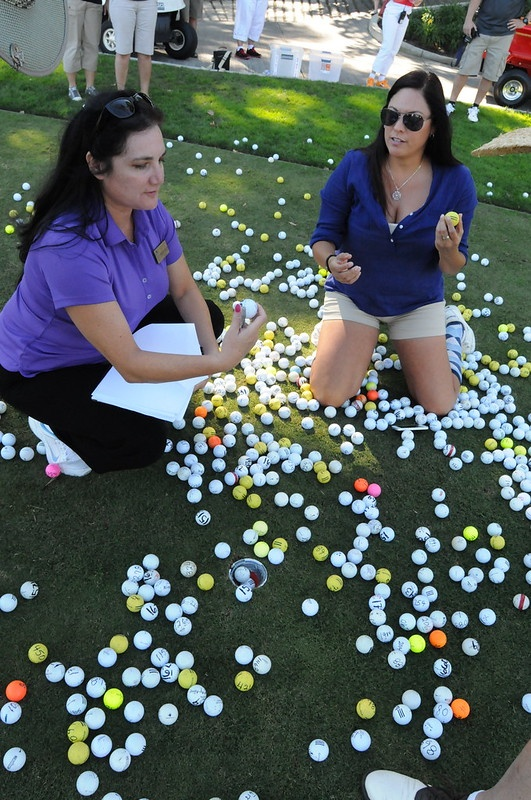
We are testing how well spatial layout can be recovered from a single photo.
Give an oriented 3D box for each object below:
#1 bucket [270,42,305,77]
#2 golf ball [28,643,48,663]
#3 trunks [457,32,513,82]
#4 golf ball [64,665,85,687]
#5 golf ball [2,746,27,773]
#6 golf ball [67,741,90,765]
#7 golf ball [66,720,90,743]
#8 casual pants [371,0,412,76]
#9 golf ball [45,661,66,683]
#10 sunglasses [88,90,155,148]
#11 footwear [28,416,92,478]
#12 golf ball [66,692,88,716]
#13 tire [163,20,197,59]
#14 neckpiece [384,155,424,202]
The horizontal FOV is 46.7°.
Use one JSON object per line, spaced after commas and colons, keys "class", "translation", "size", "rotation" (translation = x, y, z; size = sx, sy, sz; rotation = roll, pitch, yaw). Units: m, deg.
{"class": "bucket", "translation": [0.245, -4.194, 7.591], "size": [0.375, 0.340, 0.507], "rotation": [8, 30, -4]}
{"class": "golf ball", "translation": [-0.792, 0.884, 2.136], "size": [0.066, 0.033, 0.063], "rotation": [7, 34, -5]}
{"class": "trunks", "translation": [2.489, -3.932, 6.999], "size": [0.530, 0.483, 0.277], "rotation": [10, 31, -1]}
{"class": "golf ball", "translation": [-0.658, 0.959, 2.122], "size": [0.063, 0.064, 0.054], "rotation": [-20, 42, -41]}
{"class": "golf ball", "translation": [-0.785, 1.129, 1.920], "size": [0.064, 0.054, 0.053], "rotation": [18, 31, 12]}
{"class": "golf ball", "translation": [-0.595, 1.128, 1.953], "size": [0.066, 0.053, 0.055], "rotation": [12, 30, 3]}
{"class": "golf ball", "translation": [-0.598, 1.068, 1.993], "size": [0.068, 0.071, 0.064], "rotation": [3, -4, 0]}
{"class": "casual pants", "translation": [1.600, -4.659, 7.984], "size": [0.334, 0.892, 0.748], "rotation": [14, 31, 3]}
{"class": "golf ball", "translation": [-0.722, 0.944, 2.118], "size": [0.065, 0.062, 0.055], "rotation": [-9, 36, -31]}
{"class": "sunglasses", "translation": [-0.468, -0.867, 1.921], "size": [0.182, 0.051, 0.170], "rotation": [-22, 8, 35]}
{"class": "footwear", "translation": [-0.860, 0.201, 2.595], "size": [0.289, 0.122, 0.100], "rotation": [38, 59, 1]}
{"class": "golf ball", "translation": [-0.632, 1.023, 2.058], "size": [0.062, 0.058, 0.059], "rotation": [8, 30, -5]}
{"class": "tire", "translation": [-1.067, -4.525, 7.731], "size": [0.385, 0.414, 0.323], "rotation": [5, 31, -11]}
{"class": "neckpiece", "translation": [0.640, -1.035, 2.858], "size": [0.215, 0.231, 0.018], "rotation": [11, 12, 8]}
